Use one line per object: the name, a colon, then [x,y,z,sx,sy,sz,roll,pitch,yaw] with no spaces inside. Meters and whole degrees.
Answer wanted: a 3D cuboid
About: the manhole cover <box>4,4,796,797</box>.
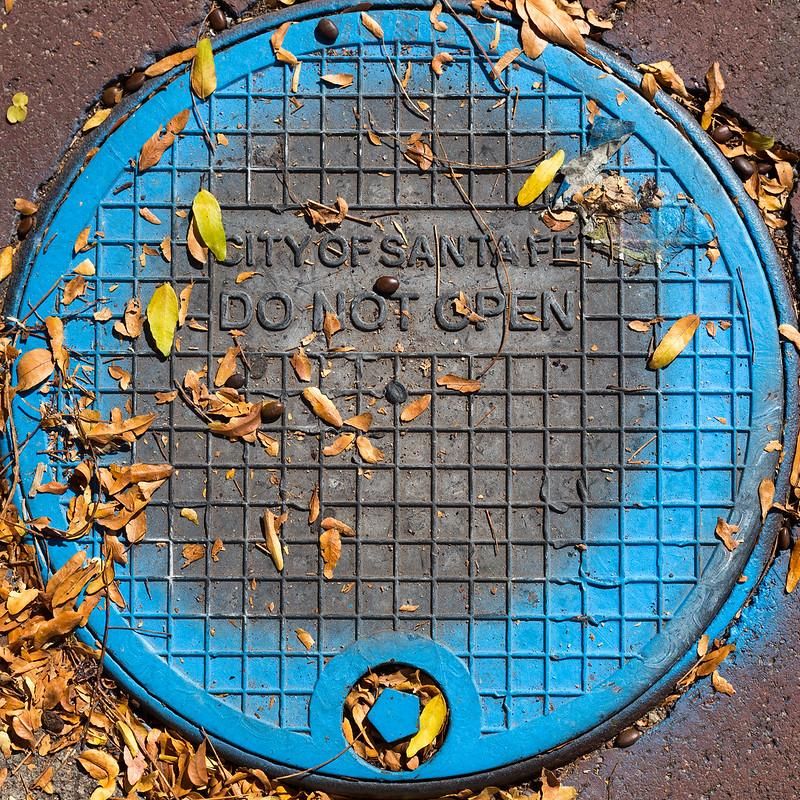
manhole cover: [0.070,-0.025,4.991,2.312,0.129,2.411,11,86,0]
